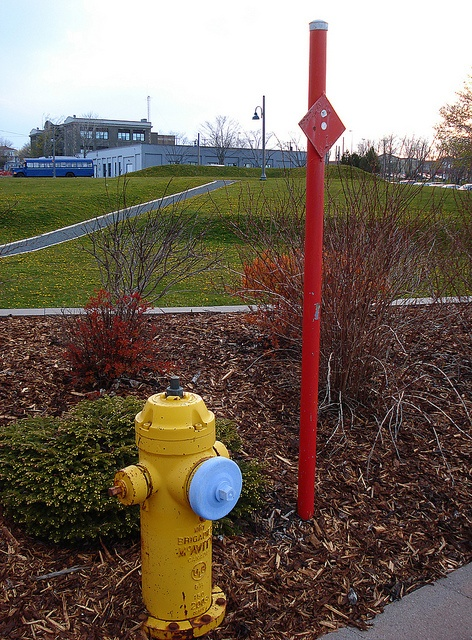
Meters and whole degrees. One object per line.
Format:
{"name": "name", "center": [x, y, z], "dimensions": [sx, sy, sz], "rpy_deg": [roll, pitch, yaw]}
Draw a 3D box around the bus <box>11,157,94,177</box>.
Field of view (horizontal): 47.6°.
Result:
{"name": "bus", "center": [-17.653, -14.764, 52.086], "dimensions": [7.329, 1.855, 2.417], "rpy_deg": [4, 13, 11]}
